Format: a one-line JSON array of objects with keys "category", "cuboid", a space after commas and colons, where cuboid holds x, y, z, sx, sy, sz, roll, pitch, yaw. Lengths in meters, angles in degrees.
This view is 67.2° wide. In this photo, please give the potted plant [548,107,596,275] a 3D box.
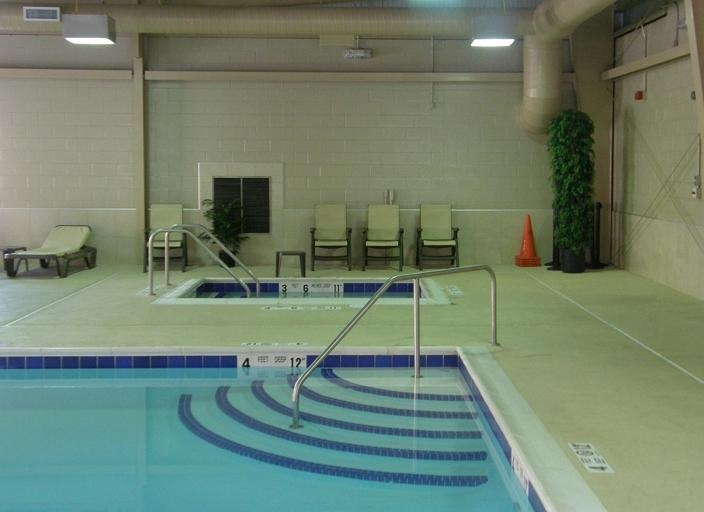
[{"category": "potted plant", "cuboid": [3.725, -1.095, 8.988, 0.774, 2.732, 0.335, 2, 7, 19]}]

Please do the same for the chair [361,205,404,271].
[{"category": "chair", "cuboid": [0.587, -0.426, 9.807, 1.076, 1.545, 1.132, 0, 3, 3]}]

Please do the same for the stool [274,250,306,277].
[{"category": "stool", "cuboid": [-1.041, 0.101, 8.946, 0.523, 0.363, 0.503, 0, -2, -5]}]

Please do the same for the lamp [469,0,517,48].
[{"category": "lamp", "cuboid": [1.964, -3.165, 7.310, 0.562, 0.405, 0.403, 1, 7, 13]}]

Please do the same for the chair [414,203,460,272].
[{"category": "chair", "cuboid": [1.627, -0.385, 10.221, 1.014, 1.133, 0.967, 0, -3, -14]}]

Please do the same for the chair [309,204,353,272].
[{"category": "chair", "cuboid": [-0.417, -0.464, 10.109, 1.067, 1.532, 1.147, 0, 1, 0]}]

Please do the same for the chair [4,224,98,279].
[{"category": "chair", "cuboid": [-5.214, -0.148, 9.230, 0.837, 0.713, 1.392, 0, 2, 9]}]

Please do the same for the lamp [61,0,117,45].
[{"category": "lamp", "cuboid": [-3.585, -3.089, 7.228, 0.604, 0.518, 0.617, -1, 13, -6]}]

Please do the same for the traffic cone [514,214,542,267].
[{"category": "traffic cone", "cuboid": [3.345, -0.321, 10.007, 0.450, 0.956, 0.506, 2, 7, 16]}]
